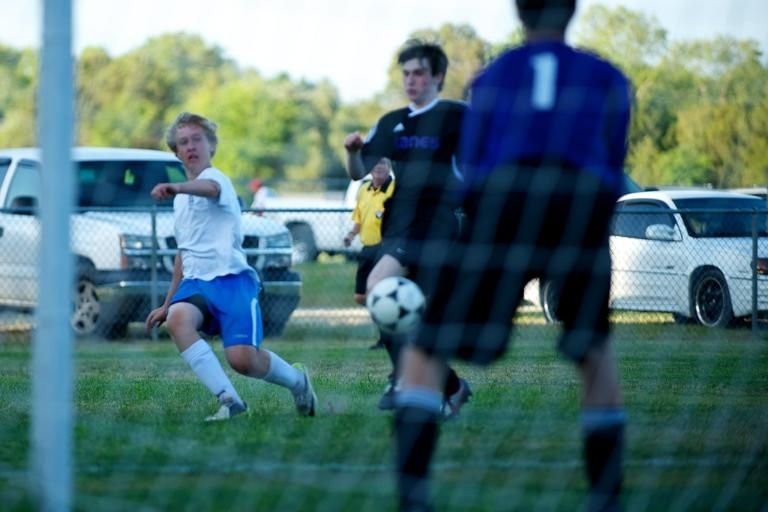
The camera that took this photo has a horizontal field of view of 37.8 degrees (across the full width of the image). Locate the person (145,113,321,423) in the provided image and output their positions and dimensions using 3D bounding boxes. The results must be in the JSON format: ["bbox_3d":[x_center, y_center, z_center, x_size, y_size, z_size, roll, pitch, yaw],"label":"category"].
[{"bbox_3d":[-1.051,0.062,7.368,1.056,1.980,0.689,0,6,-3],"label":"person"}]

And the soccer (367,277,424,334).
[{"bbox_3d":[0.070,0.285,6.423,0.316,0.356,0.312,0,-5,5],"label":"soccer"}]

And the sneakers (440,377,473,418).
[{"bbox_3d":[0.484,0.935,7.414,0.131,0.273,0.165,38,-17,-26],"label":"sneakers"}]

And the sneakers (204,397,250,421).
[{"bbox_3d":[-1.038,0.981,7.374,0.252,0.154,0.349,1,6,-1],"label":"sneakers"}]

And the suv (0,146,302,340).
[{"bbox_3d":[-2.530,-0.193,10.719,1.621,1.358,2.903,0,-1,-43],"label":"suv"}]

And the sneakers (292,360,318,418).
[{"bbox_3d":[-0.552,0.894,7.512,0.123,0.364,0.148,-8,12,33],"label":"sneakers"}]
